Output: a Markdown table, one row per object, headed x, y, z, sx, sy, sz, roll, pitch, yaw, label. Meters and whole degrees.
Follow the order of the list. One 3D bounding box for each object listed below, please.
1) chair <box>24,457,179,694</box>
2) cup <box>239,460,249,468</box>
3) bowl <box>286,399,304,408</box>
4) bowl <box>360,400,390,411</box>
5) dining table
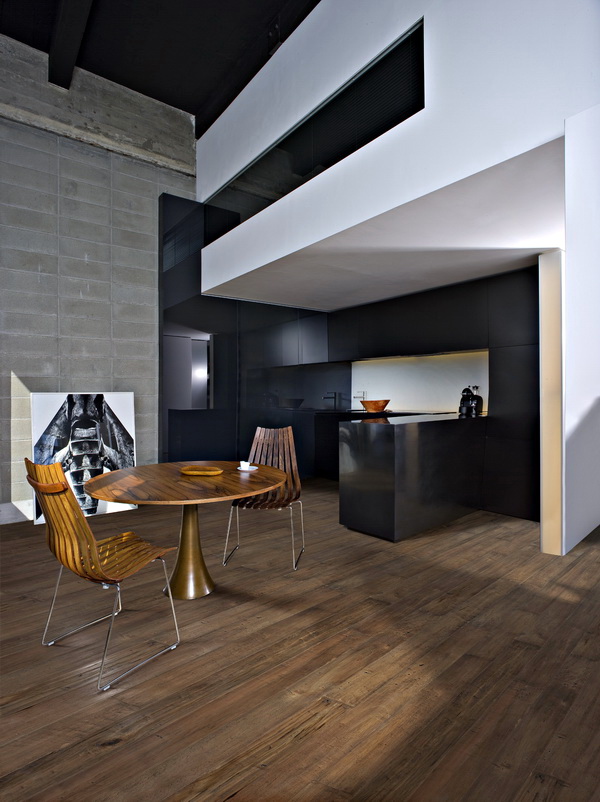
| x | y | z | sx | sy | sz | roll | pitch | yaw | label |
| --- | --- | --- | --- | --- | --- | --- | --- | --- | --- |
| -0.751 | 0.634 | 2.021 | 0.478 | 0.796 | 0.527 | 1 | 5 | 15 | chair |
| -0.306 | 0.355 | 2.824 | 0.044 | 0.036 | 0.041 | 1 | -6 | 0 | cup |
| -0.058 | 0.026 | 5.726 | 0.050 | 0.128 | 0.245 | 1 | 2 | 41 | bowl |
| 0.803 | 0.064 | 5.497 | 0.235 | 0.138 | 0.229 | 0 | 2 | 0 | bowl |
| -0.551 | 0.673 | 2.512 | 0.810 | 0.565 | 0.833 | 1 | 3 | -25 | dining table |
